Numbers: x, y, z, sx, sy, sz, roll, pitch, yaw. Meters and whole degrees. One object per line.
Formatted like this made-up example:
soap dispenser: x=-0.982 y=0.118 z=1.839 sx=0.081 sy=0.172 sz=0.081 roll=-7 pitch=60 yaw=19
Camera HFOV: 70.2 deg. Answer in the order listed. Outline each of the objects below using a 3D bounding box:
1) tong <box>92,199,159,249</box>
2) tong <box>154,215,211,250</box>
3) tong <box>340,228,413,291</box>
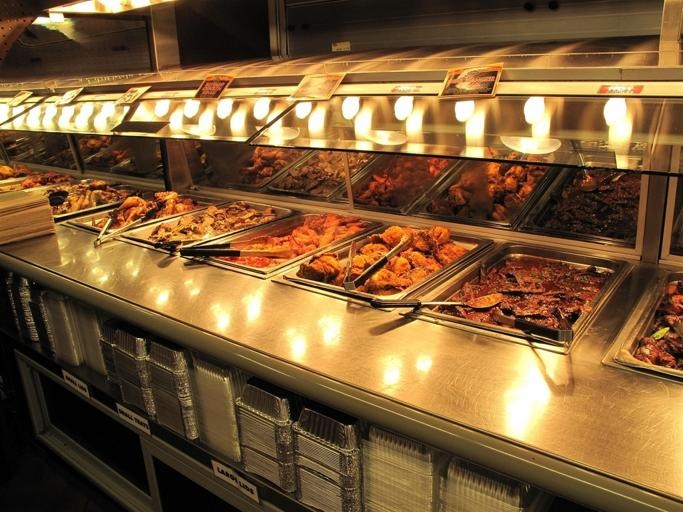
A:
tong: x=-1.261 y=-0.181 z=2.799 sx=0.178 sy=0.063 sz=0.363 roll=17 pitch=40 yaw=30
tong: x=-0.895 y=-0.134 z=2.681 sx=0.189 sy=0.079 sz=0.343 roll=23 pitch=33 yaw=37
tong: x=0.126 y=0.019 z=2.007 sx=0.221 sy=0.043 sz=0.286 roll=-2 pitch=19 yaw=21
